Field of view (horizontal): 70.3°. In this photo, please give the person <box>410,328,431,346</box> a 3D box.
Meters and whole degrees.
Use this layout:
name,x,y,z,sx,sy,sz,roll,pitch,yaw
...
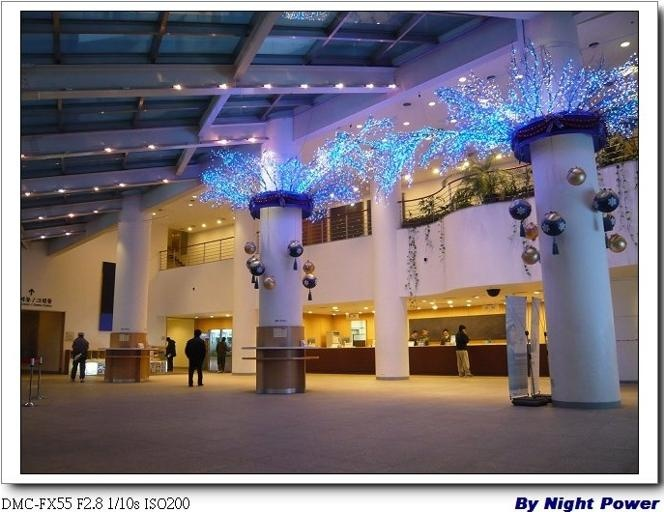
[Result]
name,x,y,z,sx,sy,sz,roll,pitch,yaw
person,3.771,3.514,20.100,1.077,0.631,1.039,-2,5,3

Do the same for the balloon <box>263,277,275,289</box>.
name,x,y,z,sx,sy,sz,roll,pitch,yaw
balloon,-1.566,0.683,11.732,0.267,0.323,0.264,12,-10,-41

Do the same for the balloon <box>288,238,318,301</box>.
name,x,y,z,sx,sy,sz,roll,pitch,yaw
balloon,-0.669,0.198,12.307,0.552,2.037,0.801,-7,-16,-9

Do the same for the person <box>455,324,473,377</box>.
name,x,y,z,sx,sy,sz,roll,pitch,yaw
person,4.728,3.383,16.948,0.475,1.782,0.931,-4,-9,15

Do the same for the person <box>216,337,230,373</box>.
name,x,y,z,sx,sy,sz,roll,pitch,yaw
person,-5.330,4.764,22.753,0.487,1.597,1.370,0,-10,-12

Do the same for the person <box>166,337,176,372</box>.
name,x,y,z,sx,sy,sz,roll,pitch,yaw
person,-8.053,4.909,23.450,0.378,1.650,3.415,1,-11,-17

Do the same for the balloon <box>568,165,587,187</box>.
name,x,y,z,sx,sy,sz,roll,pitch,yaw
balloon,4.086,-1.324,7.935,0.278,0.349,0.289,10,-3,4
